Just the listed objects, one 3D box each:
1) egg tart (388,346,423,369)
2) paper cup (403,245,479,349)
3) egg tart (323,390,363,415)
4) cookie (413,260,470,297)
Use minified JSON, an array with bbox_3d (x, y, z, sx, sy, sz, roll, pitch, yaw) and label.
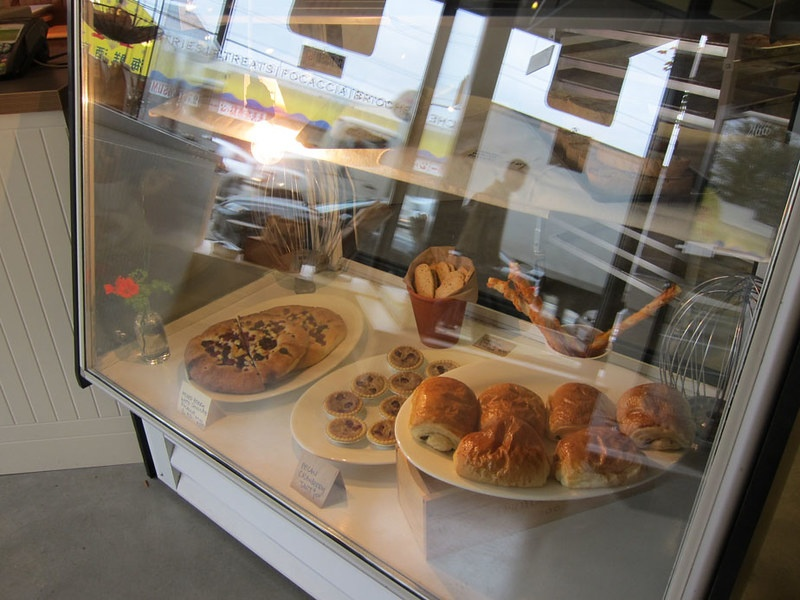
[{"bbox_3d":[0.014,0.131,1.285,0.062,0.014,0.057,-15,41,-16],"label":"egg tart"},{"bbox_3d":[0.095,-0.003,1.245,0.137,0.160,0.164,-19,40,-29],"label":"paper cup"},{"bbox_3d":[-0.135,0.235,1.283,0.064,0.019,0.058,-12,35,-19],"label":"egg tart"},{"bbox_3d":[0.085,-0.041,1.241,0.098,0.025,0.090,-27,52,-13],"label":"cookie"}]
